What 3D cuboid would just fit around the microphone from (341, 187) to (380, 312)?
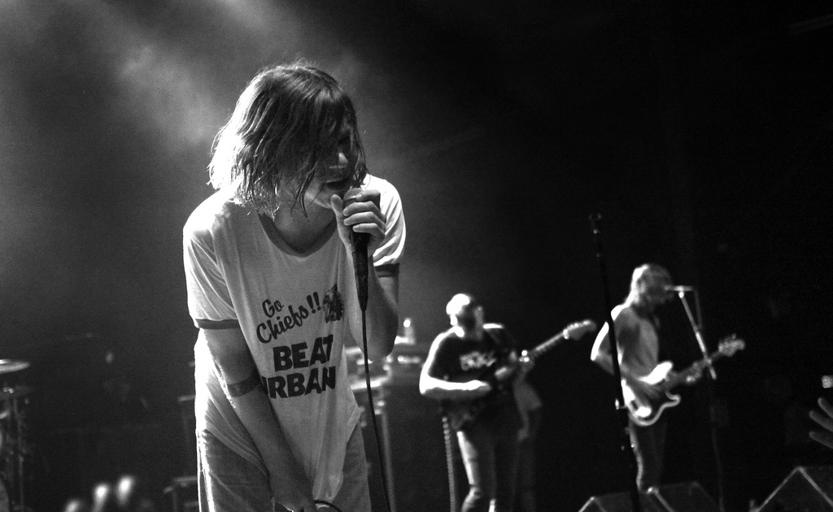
[{"bbox_3d":[-0.261,-0.040,3.687,0.141,0.551,0.143,-2,1,-6],"label":"microphone"}]
